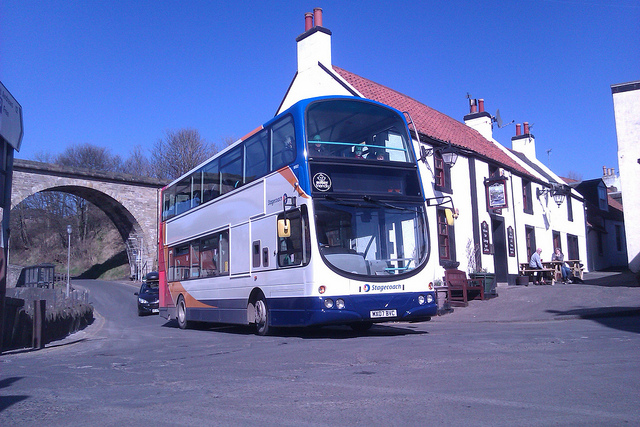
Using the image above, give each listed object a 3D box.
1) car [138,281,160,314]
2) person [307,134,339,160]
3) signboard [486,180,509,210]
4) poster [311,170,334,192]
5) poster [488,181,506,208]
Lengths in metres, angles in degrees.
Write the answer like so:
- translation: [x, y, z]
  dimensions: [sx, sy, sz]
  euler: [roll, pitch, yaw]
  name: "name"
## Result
- translation: [-8.134, 4.073, 24.987]
  dimensions: [1.405, 1.224, 2.764]
  euler: [1, -10, -23]
  name: "car"
- translation: [0.062, -1.590, 12.232]
  dimensions: [0.738, 0.641, 0.240]
  euler: [-1, -4, -18]
  name: "person"
- translation: [8.779, -0.928, 25.534]
  dimensions: [1.306, 1.597, 0.160]
  euler: [-7, -13, 44]
  name: "signboard"
- translation: [0.028, -0.736, 11.988]
  dimensions: [0.454, 0.472, 0.046]
  euler: [7, -16, -22]
  name: "poster"
- translation: [8.815, -0.946, 25.483]
  dimensions: [0.304, 1.285, 0.927]
  euler: [0, -4, -32]
  name: "poster"
